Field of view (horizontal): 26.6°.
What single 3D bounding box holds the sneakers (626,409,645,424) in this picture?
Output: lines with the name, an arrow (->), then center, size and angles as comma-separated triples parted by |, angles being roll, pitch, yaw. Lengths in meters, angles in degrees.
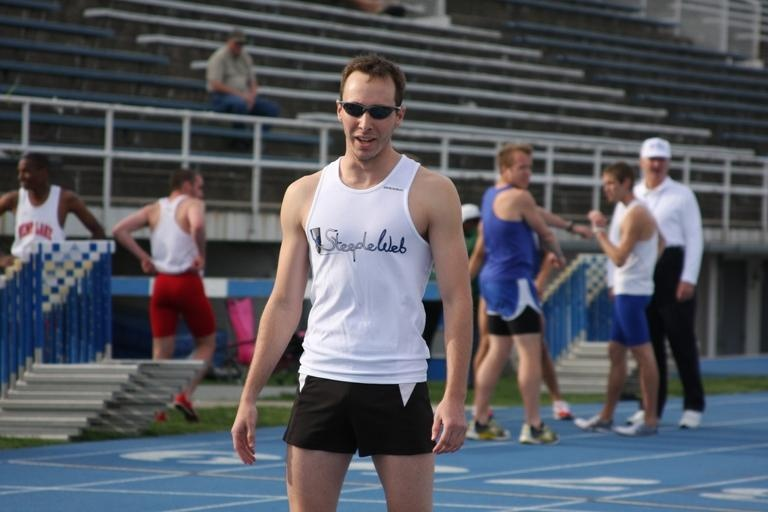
sneakers -> 2.189, 1.409, 13.973 | 0.073, 0.078, 0.197 | 4, -12, -43

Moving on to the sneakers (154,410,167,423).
sneakers -> -2.037, 1.489, 14.867 | 0.102, 0.167, 0.096 | 6, -2, -10

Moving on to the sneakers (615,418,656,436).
sneakers -> 2.174, 1.491, 13.917 | 0.336, 0.122, 0.121 | 0, -12, 10

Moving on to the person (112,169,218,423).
person -> -1.939, 0.112, 14.665 | 0.822, 1.758, 0.336 | 1, -1, -1

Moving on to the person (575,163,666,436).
person -> 2.091, 0.390, 13.952 | 0.615, 2.326, 0.520 | 1, -1, 8

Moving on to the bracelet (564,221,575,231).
bracelet -> 1.666, -0.250, 14.355 | 0.064, 0.090, 0.088 | 6, 4, 16

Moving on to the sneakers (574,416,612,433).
sneakers -> 1.841, 1.493, 14.133 | 0.308, 0.120, 0.115 | 4, -5, 21

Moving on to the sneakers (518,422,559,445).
sneakers -> 1.329, 1.565, 13.988 | 0.368, 0.150, 0.144 | 2, 4, -14

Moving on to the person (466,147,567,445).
person -> 1.129, 0.516, 14.163 | 0.779, 2.257, 0.409 | 0, -2, 38

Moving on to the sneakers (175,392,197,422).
sneakers -> -1.789, 1.398, 14.827 | 0.119, 0.140, 0.343 | -18, -44, 34
